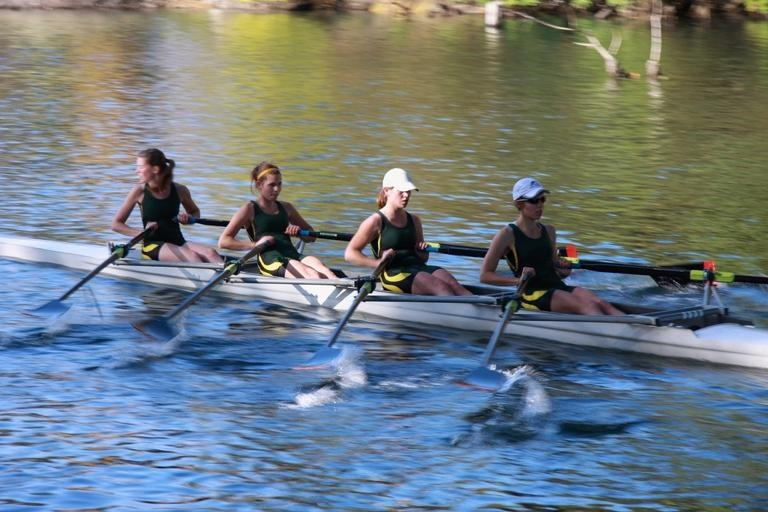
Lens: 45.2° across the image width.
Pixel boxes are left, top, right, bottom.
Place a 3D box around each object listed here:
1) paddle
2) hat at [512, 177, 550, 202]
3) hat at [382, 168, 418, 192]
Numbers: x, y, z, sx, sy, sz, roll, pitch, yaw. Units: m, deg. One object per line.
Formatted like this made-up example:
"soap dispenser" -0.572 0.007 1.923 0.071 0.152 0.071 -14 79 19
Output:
"paddle" 2.232 0.099 12.125 3.774 0.340 0.933 7 14 6
"hat" 1.683 -0.815 11.412 0.548 0.180 0.398 -14 -5 41
"hat" 0.200 -0.968 11.688 0.341 0.265 0.380 -2 16 -8
